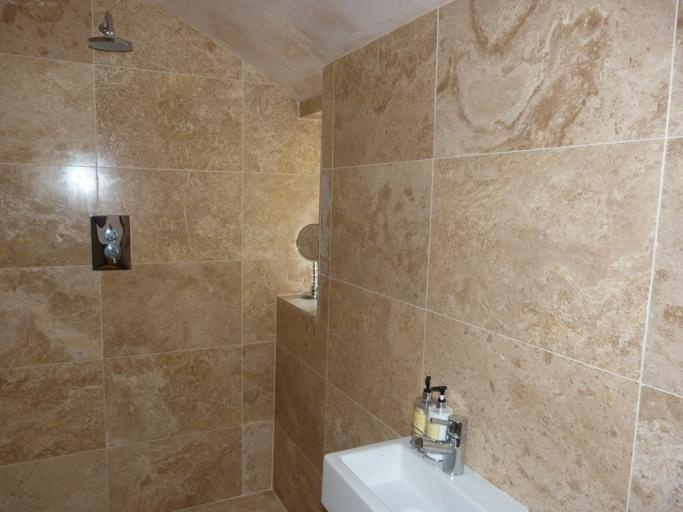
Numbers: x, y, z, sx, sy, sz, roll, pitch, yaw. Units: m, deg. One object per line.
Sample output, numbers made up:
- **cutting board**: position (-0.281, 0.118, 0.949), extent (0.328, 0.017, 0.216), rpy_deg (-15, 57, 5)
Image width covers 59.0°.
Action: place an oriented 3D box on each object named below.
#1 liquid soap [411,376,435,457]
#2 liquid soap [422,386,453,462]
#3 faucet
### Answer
- **liquid soap**: position (0.279, 0.529, 2.055), extent (0.059, 0.232, 0.056), rpy_deg (12, 6, 20)
- **liquid soap**: position (0.325, 0.555, 2.005), extent (0.076, 0.242, 0.079), rpy_deg (9, 15, 26)
- **faucet**: position (0.320, 0.610, 1.965), extent (0.168, 0.191, 0.072), rpy_deg (2, 12, -4)
